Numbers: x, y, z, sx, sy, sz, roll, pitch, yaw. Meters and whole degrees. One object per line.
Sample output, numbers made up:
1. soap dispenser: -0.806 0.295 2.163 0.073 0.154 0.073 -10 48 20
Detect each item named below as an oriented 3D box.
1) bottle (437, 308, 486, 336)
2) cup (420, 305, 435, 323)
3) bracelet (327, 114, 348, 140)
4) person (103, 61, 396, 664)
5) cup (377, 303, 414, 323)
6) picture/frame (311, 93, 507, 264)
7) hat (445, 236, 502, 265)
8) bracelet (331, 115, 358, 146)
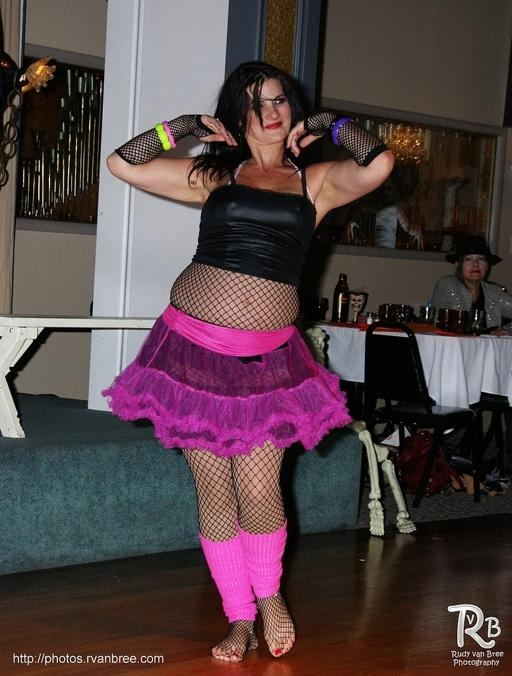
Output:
1. bottle: 1.258 -0.086 3.702 0.195 0.135 0.205 0 -5 0
2. cup: 1.122 -0.142 3.941 0.097 0.130 0.216 2 -5 14
3. bracelet: 0.201 -0.486 1.383 0.020 0.055 0.052 16 10 -37
4. person: -0.059 0.018 1.345 0.620 1.366 0.345 4 -6 -4
5. cup: 0.900 -0.162 3.989 0.232 0.141 0.141 2 2 41
6. picture/frame: 1.211 -1.238 4.725 2.434 1.460 0.104 2 0 -29
7. hat: 1.684 -0.686 4.678 0.476 0.183 0.507 -2 1 6
8. bracelet: 0.190 -0.472 1.383 0.020 0.065 0.072 22 16 36
